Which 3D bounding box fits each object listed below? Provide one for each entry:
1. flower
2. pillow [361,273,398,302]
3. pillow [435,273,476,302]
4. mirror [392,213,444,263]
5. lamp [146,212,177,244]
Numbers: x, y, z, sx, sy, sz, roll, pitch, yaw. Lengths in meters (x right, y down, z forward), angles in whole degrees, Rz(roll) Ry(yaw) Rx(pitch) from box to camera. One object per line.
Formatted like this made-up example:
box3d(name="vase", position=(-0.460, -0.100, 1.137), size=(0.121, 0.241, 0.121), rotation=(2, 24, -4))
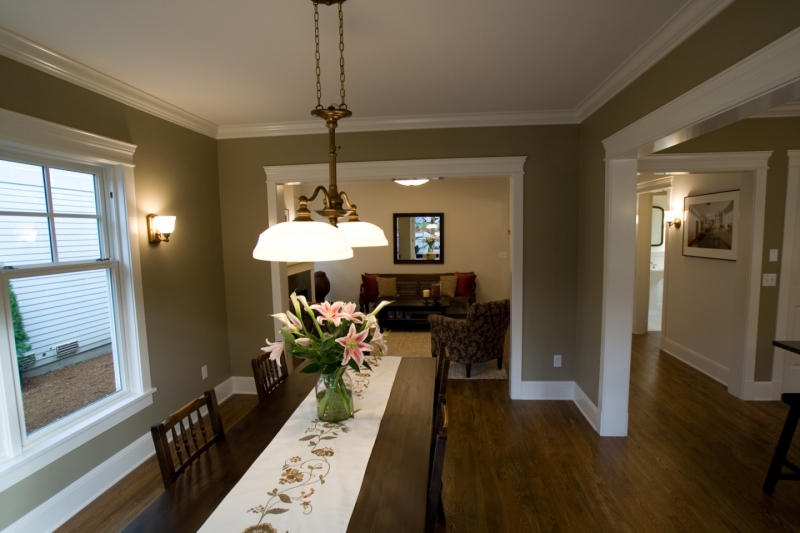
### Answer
box3d(name="flower", position=(-0.486, 0.600, 4.031), size=(0.930, 0.962, 0.887), rotation=(-2, 1, 10))
box3d(name="pillow", position=(-0.364, 0.354, 9.055), size=(0.472, 0.498, 0.167), rotation=(1, -18, 0))
box3d(name="pillow", position=(0.994, 0.309, 8.763), size=(0.490, 0.514, 0.220), rotation=(0, -22, 19))
box3d(name="mirror", position=(0.355, -0.553, 9.218), size=(0.835, 0.823, 0.083), rotation=(-1, 5, 4))
box3d(name="lamp", position=(-2.256, -0.361, 4.881), size=(0.261, 0.342, 0.235), rotation=(1, 0, 2))
